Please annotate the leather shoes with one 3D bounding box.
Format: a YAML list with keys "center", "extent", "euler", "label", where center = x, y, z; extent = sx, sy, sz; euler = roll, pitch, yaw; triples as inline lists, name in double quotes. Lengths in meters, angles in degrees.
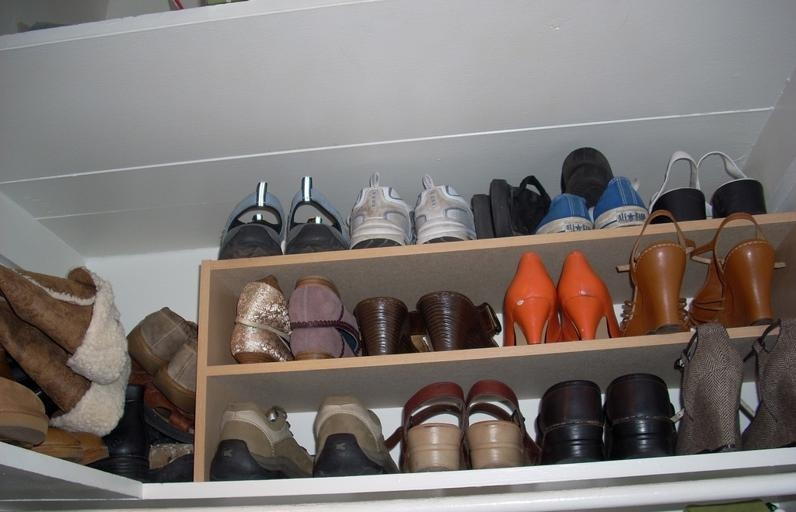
- center: [-0.301, 0.205, 1.862]
  extent: [0.411, 0.270, 0.216]
  euler: [4, -26, -15]
  label: "leather shoes"

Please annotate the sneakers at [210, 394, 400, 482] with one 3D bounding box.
- center: [-0.277, 0.545, 1.752]
  extent: [0.517, 0.224, 0.268]
  euler: [-5, -25, 4]
  label: "sneakers"
